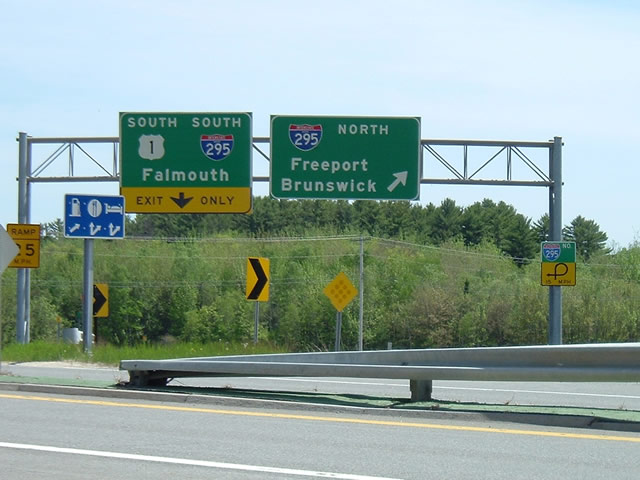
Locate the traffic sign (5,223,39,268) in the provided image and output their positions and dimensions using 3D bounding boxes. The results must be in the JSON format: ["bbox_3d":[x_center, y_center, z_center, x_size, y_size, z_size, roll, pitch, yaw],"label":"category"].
[{"bbox_3d":[-11.119,0.198,57.265,1.419,2.155,0.080,3,-6,-33],"label":"traffic sign"}]
